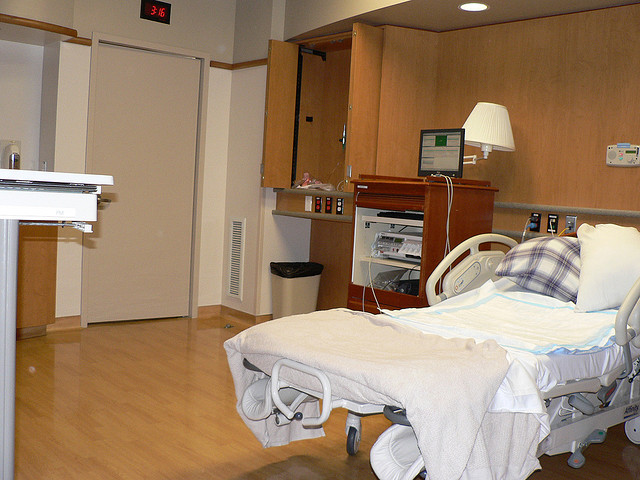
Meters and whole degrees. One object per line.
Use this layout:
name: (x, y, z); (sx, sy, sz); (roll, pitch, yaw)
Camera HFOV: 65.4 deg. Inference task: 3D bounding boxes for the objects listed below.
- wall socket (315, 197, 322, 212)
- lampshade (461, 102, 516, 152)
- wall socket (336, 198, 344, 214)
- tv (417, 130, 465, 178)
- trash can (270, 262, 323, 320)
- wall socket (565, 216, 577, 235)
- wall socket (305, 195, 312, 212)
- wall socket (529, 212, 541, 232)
wall socket: (-0.013, -0.344, 4.838); (0.026, 0.145, 0.119); (-2, 8, -35)
lampshade: (1.255, -0.846, 3.666); (0.397, 0.331, 0.202); (3, 7, 2)
wall socket: (0.189, -0.319, 4.624); (0.077, 0.146, 0.024); (6, 8, 29)
tv: (0.887, -0.623, 3.601); (0.328, 0.309, 0.161); (4, 0, 44)
trash can: (-0.242, 0.442, 5.205); (0.616, 0.786, 0.490); (2, 0, -36)
wall socket: (1.820, -0.115, 3.595); (0.074, 0.117, 0.061); (6, 8, 27)
wall socket: (-0.110, -0.364, 4.936); (0.087, 0.153, 0.029); (7, 8, 36)
wall socket: (1.637, -0.135, 3.766); (0.071, 0.142, 0.036); (6, 8, 29)
